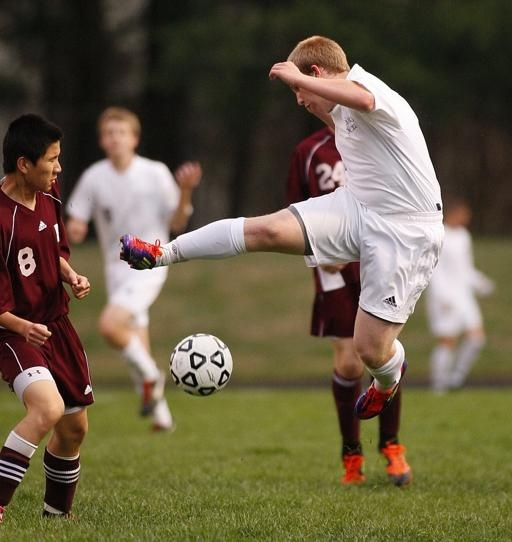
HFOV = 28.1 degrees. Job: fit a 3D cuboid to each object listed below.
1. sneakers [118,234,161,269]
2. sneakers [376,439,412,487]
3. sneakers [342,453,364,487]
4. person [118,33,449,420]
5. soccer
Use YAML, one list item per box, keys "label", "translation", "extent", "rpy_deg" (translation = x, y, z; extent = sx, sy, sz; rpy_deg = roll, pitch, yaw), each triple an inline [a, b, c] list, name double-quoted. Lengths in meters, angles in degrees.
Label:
- label: "sneakers"
  translation: [-0.600, -0.095, 5.336]
  extent: [0.198, 0.154, 0.095]
  rpy_deg: [33, -4, -19]
- label: "sneakers"
  translation: [0.813, 1.129, 6.035]
  extent: [0.100, 0.126, 0.295]
  rpy_deg: [-15, 40, -4]
- label: "sneakers"
  translation: [0.566, 1.170, 5.997]
  extent: [0.101, 0.214, 0.209]
  rpy_deg: [-4, -13, 18]
- label: "person"
  translation: [0.329, -0.192, 5.423]
  extent: [1.292, 2.040, 0.527]
  rpy_deg: [7, 8, 10]
- label: "soccer"
  translation: [-0.252, 0.469, 5.409]
  extent: [0.329, 0.392, 0.310]
  rpy_deg: [-2, 3, -1]
